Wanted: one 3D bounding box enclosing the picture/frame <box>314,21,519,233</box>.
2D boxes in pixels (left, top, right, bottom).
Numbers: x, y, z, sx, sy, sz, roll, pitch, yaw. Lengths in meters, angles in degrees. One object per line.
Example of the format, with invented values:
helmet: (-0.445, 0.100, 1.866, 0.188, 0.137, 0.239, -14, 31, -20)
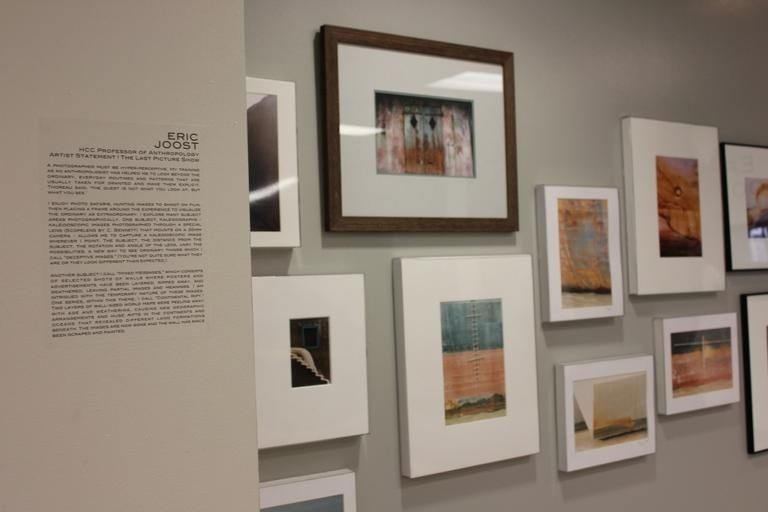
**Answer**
picture/frame: (0.076, -0.395, 1.947, 0.660, 0.592, 0.050, -3, 2, -25)
